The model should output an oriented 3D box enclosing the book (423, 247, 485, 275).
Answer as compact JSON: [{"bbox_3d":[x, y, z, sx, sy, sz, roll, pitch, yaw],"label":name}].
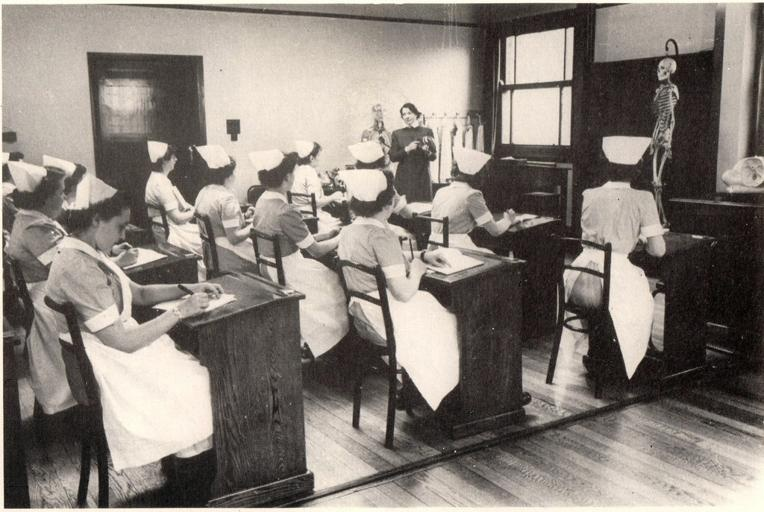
[{"bbox_3d":[0.364,0.026,3.013,0.166,0.053,0.171,-17,32,-24],"label":"book"}]

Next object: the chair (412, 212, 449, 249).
[{"bbox_3d":[0.228,-0.132,3.063,0.104,0.186,0.108,13,36,26],"label":"chair"}]

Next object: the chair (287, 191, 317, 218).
[{"bbox_3d":[-0.356,-0.241,2.841,0.108,0.156,0.112,1,19,4],"label":"chair"}]

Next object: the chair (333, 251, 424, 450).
[{"bbox_3d":[-0.043,0.450,2.912,0.319,0.899,0.230,-3,13,-5],"label":"chair"}]

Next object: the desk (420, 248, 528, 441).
[{"bbox_3d":[0.365,0.442,3.339,0.615,0.825,0.709,-4,5,-30],"label":"desk"}]

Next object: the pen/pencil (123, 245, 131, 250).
[{"bbox_3d":[-1.080,-0.037,2.627,0.015,0.016,0.016,-3,-8,22],"label":"pen/pencil"}]

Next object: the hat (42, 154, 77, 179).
[{"bbox_3d":[-1.327,-0.376,2.554,0.098,0.034,0.096,15,8,-4],"label":"hat"}]

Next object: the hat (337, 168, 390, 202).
[{"bbox_3d":[-0.069,-0.353,2.846,0.050,0.196,0.187,12,-8,30],"label":"hat"}]

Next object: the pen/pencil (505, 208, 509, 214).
[{"bbox_3d":[0.641,-0.233,3.208,0.035,0.026,0.009,7,3,27],"label":"pen/pencil"}]

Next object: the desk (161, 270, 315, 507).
[{"bbox_3d":[-0.653,0.501,3.089,0.724,1.111,1.113,-3,4,-25],"label":"desk"}]

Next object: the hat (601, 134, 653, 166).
[{"bbox_3d":[1.347,-0.581,3.420,0.347,0.164,0.084,-11,16,-33],"label":"hat"}]

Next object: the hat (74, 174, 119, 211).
[{"bbox_3d":[-1.174,-0.261,2.519,0.138,0.143,0.042,34,-22,-10],"label":"hat"}]

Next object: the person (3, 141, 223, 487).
[{"bbox_3d":[-1.232,0.079,3.322,1.214,2.176,0.874,-8,18,-35],"label":"person"}]

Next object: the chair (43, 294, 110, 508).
[{"bbox_3d":[-1.213,0.594,2.497,0.296,0.942,0.153,8,17,37],"label":"chair"}]

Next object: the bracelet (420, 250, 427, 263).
[{"bbox_3d":[0.201,0.003,3.006,0.045,0.036,0.045,-13,15,-34],"label":"bracelet"}]

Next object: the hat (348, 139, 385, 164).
[{"bbox_3d":[-0.072,-0.485,2.876,0.142,0.107,0.050,-11,-10,-25],"label":"hat"}]
